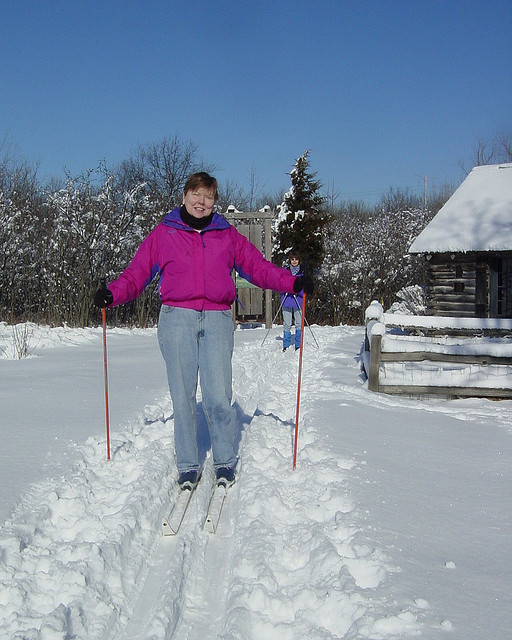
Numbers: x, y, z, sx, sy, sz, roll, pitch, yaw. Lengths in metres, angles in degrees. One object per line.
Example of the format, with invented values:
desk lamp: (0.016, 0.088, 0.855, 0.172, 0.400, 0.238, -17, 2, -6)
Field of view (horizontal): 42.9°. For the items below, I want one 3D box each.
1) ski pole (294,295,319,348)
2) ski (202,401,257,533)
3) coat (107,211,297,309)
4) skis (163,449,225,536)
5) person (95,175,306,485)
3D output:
ski pole: (1.101, 0.039, 14.047, 0.047, 1.713, 0.020, -19, 2, 15)
ski: (-0.209, 1.051, 4.918, 0.097, 0.189, 1.484, 4, 25, 5)
coat: (-0.905, -0.824, 8.764, 2.456, 2.038, 0.880, 0, -4, -18)
skis: (-0.404, 1.152, 4.299, 0.205, 0.138, 0.895, 1, 6, 6)
person: (-0.398, 0.104, 4.419, 1.219, 2.125, 0.348, -1, 5, -21)
